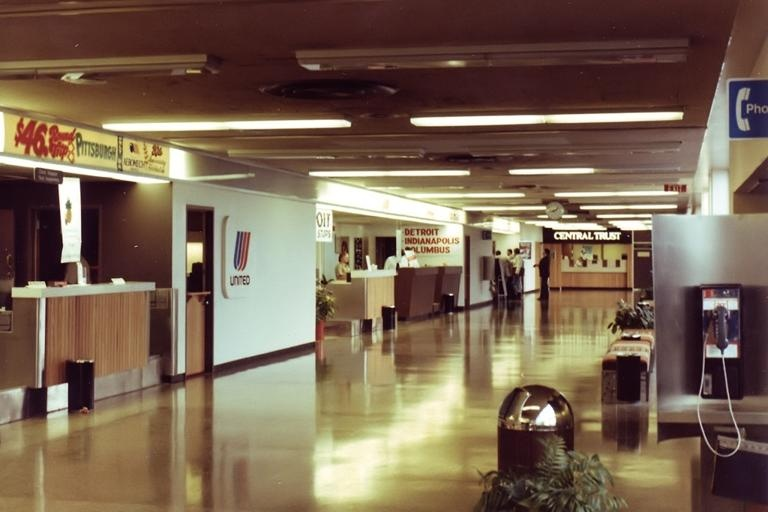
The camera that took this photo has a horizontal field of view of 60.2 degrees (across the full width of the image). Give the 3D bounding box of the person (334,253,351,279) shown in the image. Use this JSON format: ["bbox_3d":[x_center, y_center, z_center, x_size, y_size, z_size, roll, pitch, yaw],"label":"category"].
[{"bbox_3d":[-1.075,0.260,17.133,0.359,0.724,0.926,1,0,-5],"label":"person"}]

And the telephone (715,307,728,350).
[{"bbox_3d":[2.191,0.472,4.309,0.070,0.321,0.031,-2,-10,12],"label":"telephone"}]

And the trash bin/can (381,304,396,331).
[{"bbox_3d":[0.114,1.589,17.213,0.383,0.568,0.655,1,0,-1],"label":"trash bin/can"}]

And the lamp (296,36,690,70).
[{"bbox_3d":[0.998,-1.832,6.048,3.422,0.207,0.284,1,0,6],"label":"lamp"}]

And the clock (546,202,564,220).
[{"bbox_3d":[4.510,-1.186,17.289,0.522,0.552,0.127,3,1,33],"label":"clock"}]

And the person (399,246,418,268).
[{"bbox_3d":[0.737,0.101,19.820,0.691,0.838,0.470,2,8,10],"label":"person"}]

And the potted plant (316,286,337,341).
[{"bbox_3d":[-1.331,1.282,14.949,0.388,1.190,0.749,1,-1,-4],"label":"potted plant"}]
